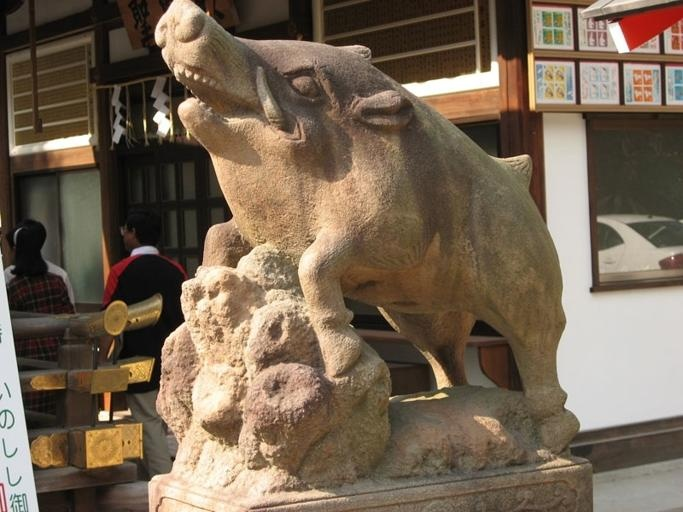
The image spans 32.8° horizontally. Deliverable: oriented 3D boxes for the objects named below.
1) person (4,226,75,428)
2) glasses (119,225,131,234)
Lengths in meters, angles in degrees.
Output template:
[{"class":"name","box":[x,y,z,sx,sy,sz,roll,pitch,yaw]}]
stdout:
[{"class":"person","box":[-1.947,0.386,7.567,0.419,1.225,1.390,-6,0,-13]},{"class":"glasses","box":[-1.582,-0.192,8.543,0.105,0.077,0.105,-1,3,-20]}]
